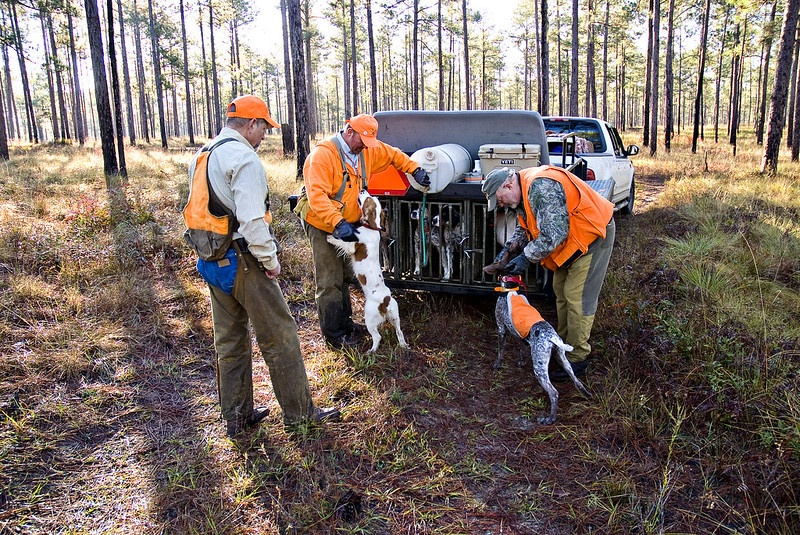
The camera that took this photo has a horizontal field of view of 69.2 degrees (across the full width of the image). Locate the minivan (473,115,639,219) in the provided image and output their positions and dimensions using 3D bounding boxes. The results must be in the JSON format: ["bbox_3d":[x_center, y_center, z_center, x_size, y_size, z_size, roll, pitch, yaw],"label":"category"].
[{"bbox_3d":[3.392,-1.571,11.850,2.217,2.045,4.501,-14,3,35],"label":"minivan"}]

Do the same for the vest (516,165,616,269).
[{"bbox_3d":[2.011,-0.549,7.005,0.738,0.801,0.625,-16,4,39],"label":"vest"}]

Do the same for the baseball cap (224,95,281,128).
[{"bbox_3d":[-1.583,-1.639,6.167,0.374,0.313,0.538,-4,1,-30],"label":"baseball cap"}]

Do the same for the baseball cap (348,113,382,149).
[{"bbox_3d":[-0.444,-1.692,7.204,0.362,0.401,0.247,-6,13,-10],"label":"baseball cap"}]

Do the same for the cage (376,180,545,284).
[{"bbox_3d":[0.656,-0.469,8.177,1.460,1.034,1.586,2,17,7],"label":"cage"}]

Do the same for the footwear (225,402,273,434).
[{"bbox_3d":[-1.628,1.683,6.401,0.166,0.249,0.512,13,30,36],"label":"footwear"}]

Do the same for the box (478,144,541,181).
[{"bbox_3d":[1.460,-1.498,7.711,0.751,0.579,0.557,4,40,17],"label":"box"}]

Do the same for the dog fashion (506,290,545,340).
[{"bbox_3d":[1.501,0.557,6.862,0.388,0.232,0.675,-19,37,7],"label":"dog fashion"}]

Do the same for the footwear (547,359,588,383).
[{"bbox_3d":[1.966,1.220,7.096,0.567,0.305,0.243,0,20,-2],"label":"footwear"}]

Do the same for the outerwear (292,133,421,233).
[{"bbox_3d":[-0.681,-1.123,7.294,1.053,0.967,1.625,26,33,22],"label":"outerwear"}]

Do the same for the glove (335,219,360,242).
[{"bbox_3d":[-0.594,-0.425,7.022,0.211,0.110,0.292,37,6,31],"label":"glove"}]

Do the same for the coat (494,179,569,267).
[{"bbox_3d":[1.651,-0.505,6.959,0.559,1.182,1.086,1,-3,-6],"label":"coat"}]

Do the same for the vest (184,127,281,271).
[{"bbox_3d":[-1.920,-0.738,6.199,1.399,1.440,0.541,10,13,24],"label":"vest"}]
